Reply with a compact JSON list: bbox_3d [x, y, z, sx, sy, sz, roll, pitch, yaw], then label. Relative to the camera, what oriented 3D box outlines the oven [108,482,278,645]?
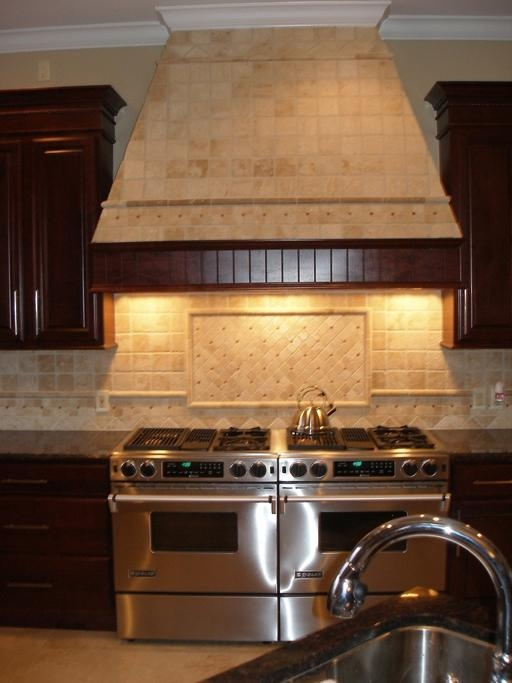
[{"bbox_3d":[-0.246,1.019,3.224,0.818,0.657,0.600,-2,-7,9],"label":"oven"}]

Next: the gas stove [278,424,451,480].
[{"bbox_3d":[0.492,0.536,3.198,0.761,0.209,0.469,-1,-2,2],"label":"gas stove"}]

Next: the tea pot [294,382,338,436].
[{"bbox_3d":[0.297,0.361,3.455,0.265,0.205,0.193,0,0,-23],"label":"tea pot"}]

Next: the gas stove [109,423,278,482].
[{"bbox_3d":[-0.284,0.553,3.257,0.757,0.196,0.548,-1,-2,0],"label":"gas stove"}]
